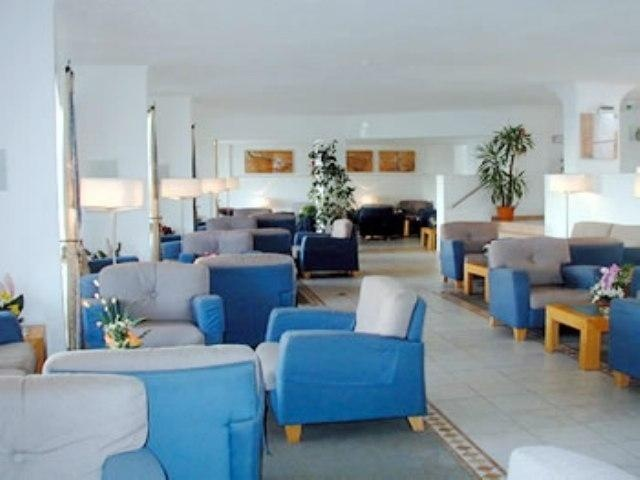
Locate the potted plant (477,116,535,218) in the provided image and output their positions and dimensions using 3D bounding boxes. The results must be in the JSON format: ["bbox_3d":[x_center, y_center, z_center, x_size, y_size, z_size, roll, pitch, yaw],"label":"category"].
[{"bbox_3d":[4.081,-1.385,12.113,1.248,1.813,1.221,5,8,33],"label":"potted plant"}]
